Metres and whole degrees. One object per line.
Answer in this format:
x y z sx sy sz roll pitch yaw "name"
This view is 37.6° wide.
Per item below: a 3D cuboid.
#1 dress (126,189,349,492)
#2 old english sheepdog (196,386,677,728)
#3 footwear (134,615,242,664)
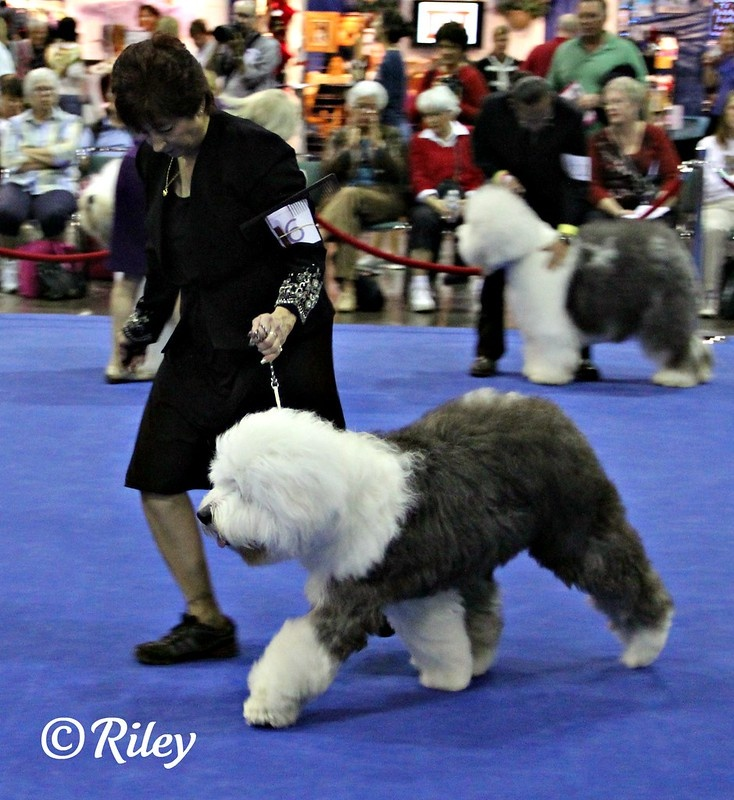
-0.267 -0.097 2.748 0.567 0.659 0.223 17 -1 8 "dress"
0.149 0.360 2.449 1.206 0.591 0.361 -2 4 -30 "old english sheepdog"
-0.447 0.609 2.727 0.279 0.096 0.094 2 -17 -37 "footwear"
